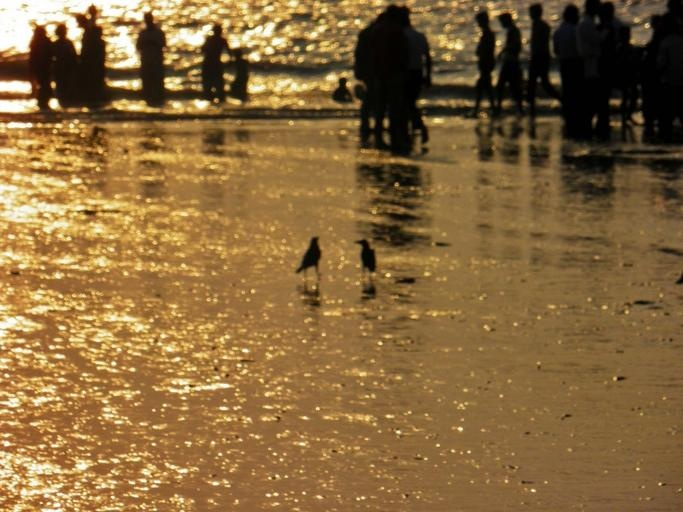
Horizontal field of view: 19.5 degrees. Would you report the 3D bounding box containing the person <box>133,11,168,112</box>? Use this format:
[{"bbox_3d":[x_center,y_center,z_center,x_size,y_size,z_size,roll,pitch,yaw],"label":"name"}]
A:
[{"bbox_3d":[-3.906,-4.105,41.258,0.587,1.881,1.190,-2,11,-6],"label":"person"}]

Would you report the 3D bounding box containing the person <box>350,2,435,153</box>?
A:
[{"bbox_3d":[0.790,-2.788,30.855,1.125,2.186,1.590,-2,11,-5],"label":"person"}]

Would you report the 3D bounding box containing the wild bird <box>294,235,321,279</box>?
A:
[{"bbox_3d":[-0.351,0.034,22.614,0.485,0.429,0.159,-20,10,-43],"label":"wild bird"}]

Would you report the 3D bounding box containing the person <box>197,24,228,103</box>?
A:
[{"bbox_3d":[-2.546,-3.923,40.695,0.556,1.583,1.235,-1,11,-4],"label":"person"}]
